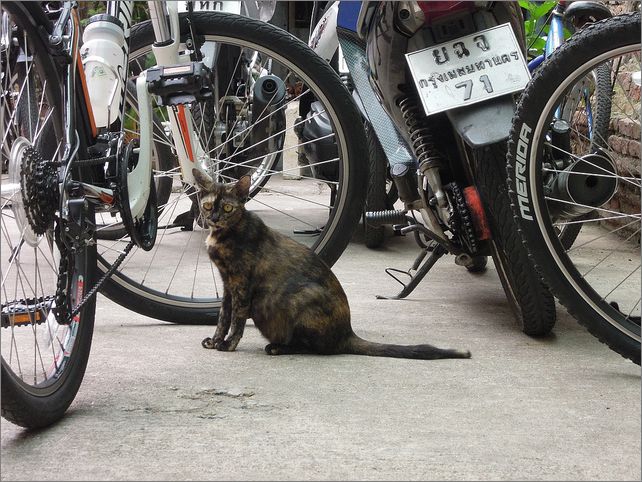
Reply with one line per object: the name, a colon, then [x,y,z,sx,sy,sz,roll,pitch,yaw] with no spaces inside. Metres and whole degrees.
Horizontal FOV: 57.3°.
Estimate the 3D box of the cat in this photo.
cat: [0.006,0.125,2.445,1.180,0.732,0.344,5,1,0]
